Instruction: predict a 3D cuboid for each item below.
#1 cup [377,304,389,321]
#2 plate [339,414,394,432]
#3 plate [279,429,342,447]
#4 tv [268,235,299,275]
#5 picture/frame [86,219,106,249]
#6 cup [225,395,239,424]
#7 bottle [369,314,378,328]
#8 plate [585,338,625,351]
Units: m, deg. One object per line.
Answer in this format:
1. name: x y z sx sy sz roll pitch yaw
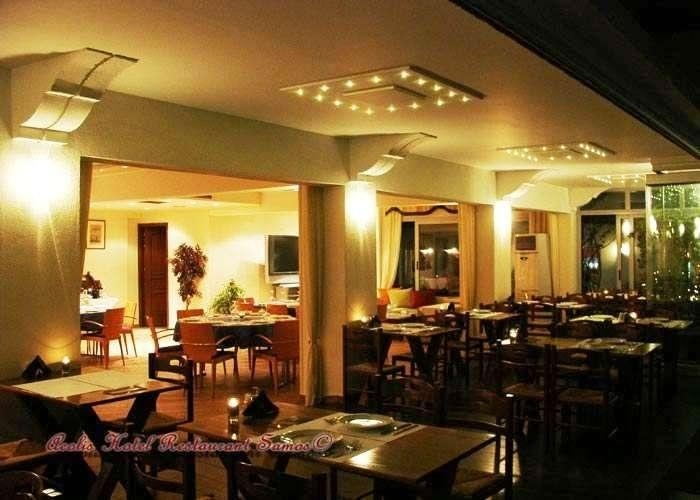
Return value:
1. cup: 0.562 1.117 9.549 0.303 0.301 0.297 1 -6 0
2. plate: 0.097 1.017 3.185 0.321 0.045 0.265 4 -2 6
3. plate: -0.215 1.016 2.936 0.325 0.052 0.262 4 -2 -2
4. tv: -1.645 0.100 13.042 0.102 0.811 1.054 1 2 37
5. picture/frame: -5.603 -0.338 11.918 0.037 0.749 0.684 -3 5 27
6. cup: -0.699 0.971 3.261 0.067 0.114 0.103 5 -3 -13
7. bottle: 0.278 0.889 6.638 0.114 0.106 0.127 1 -7 2
8. plate: 2.565 0.957 5.491 0.378 0.069 0.627 3 -2 28
